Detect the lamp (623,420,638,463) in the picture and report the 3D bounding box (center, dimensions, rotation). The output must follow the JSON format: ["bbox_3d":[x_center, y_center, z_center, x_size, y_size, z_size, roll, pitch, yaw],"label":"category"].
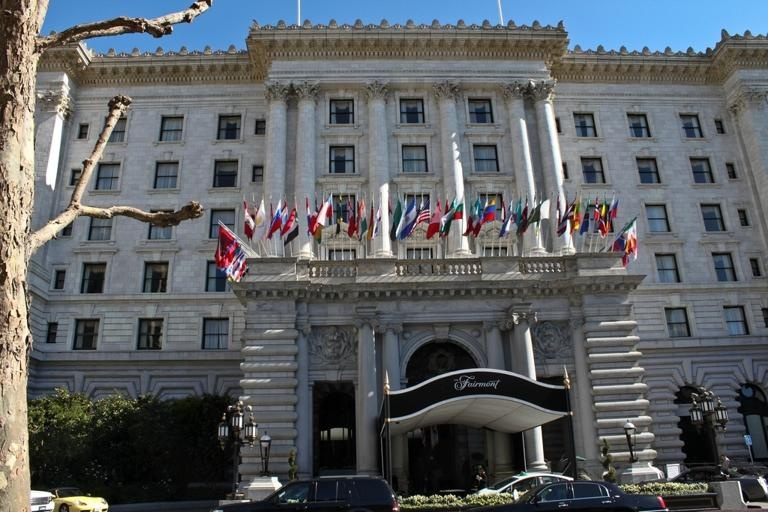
[{"bbox_3d":[14.585,10.894,46.761,0.815,2.529,3.134,-7,-24,16],"label":"lamp"}]
